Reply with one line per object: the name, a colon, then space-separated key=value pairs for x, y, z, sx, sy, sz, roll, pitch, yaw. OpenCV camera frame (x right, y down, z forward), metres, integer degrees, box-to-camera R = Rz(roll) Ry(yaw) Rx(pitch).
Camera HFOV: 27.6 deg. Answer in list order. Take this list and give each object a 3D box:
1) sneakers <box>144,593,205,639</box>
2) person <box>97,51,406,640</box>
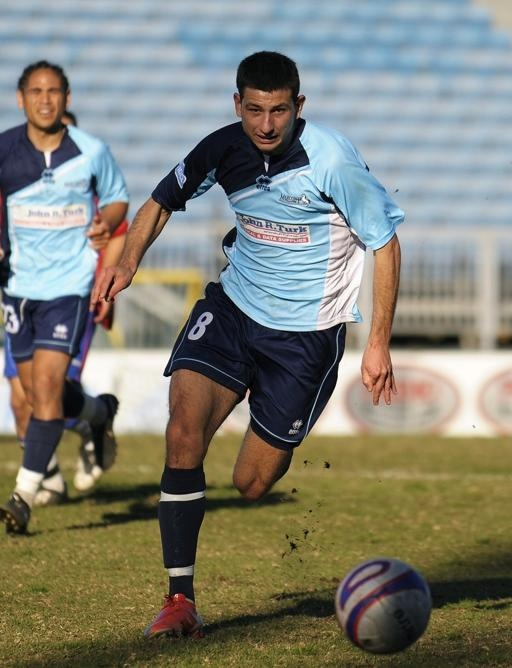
sneakers: x=-0.273 y=0.929 z=3.449 sx=0.118 sy=0.144 sz=0.314 roll=-16 pitch=-13 yaw=21
person: x=-0.003 y=-0.037 z=3.889 sx=0.958 sy=1.920 sz=0.856 roll=-1 pitch=0 yaw=-16
